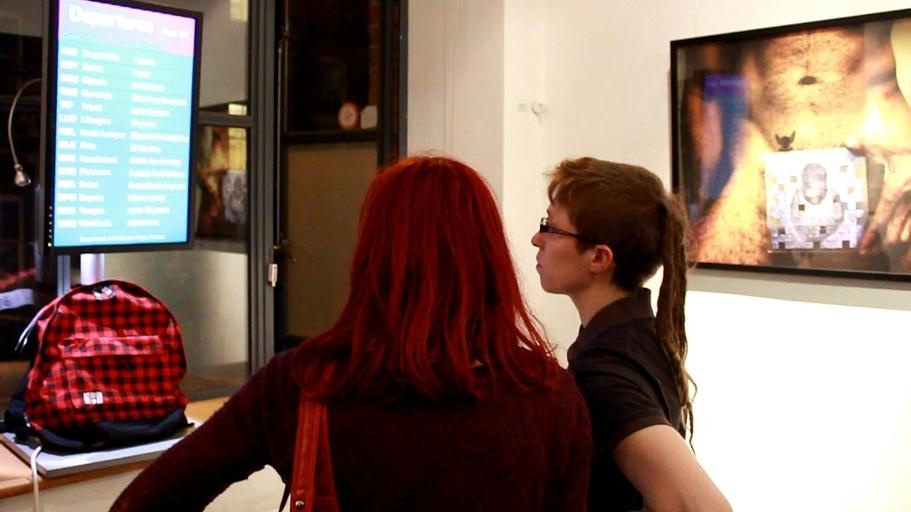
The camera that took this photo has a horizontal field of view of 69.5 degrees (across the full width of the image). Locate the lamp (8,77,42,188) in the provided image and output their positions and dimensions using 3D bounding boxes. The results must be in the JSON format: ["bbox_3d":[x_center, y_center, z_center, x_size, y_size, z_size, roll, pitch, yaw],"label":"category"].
[{"bbox_3d":[-2.058,-0.587,3.133,0.156,0.540,0.611,-5,9,-32],"label":"lamp"}]
